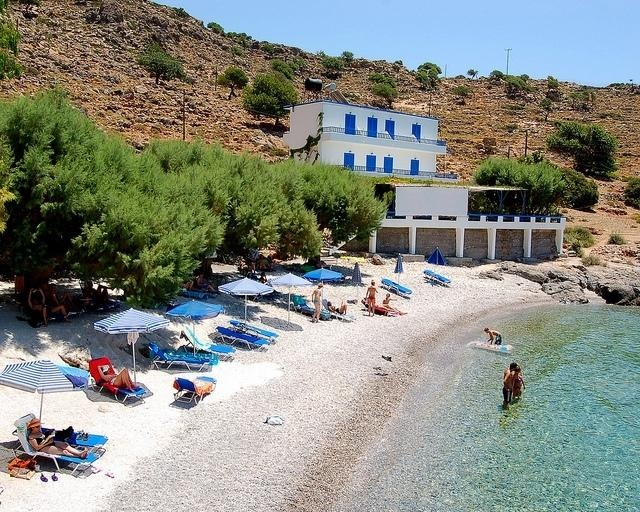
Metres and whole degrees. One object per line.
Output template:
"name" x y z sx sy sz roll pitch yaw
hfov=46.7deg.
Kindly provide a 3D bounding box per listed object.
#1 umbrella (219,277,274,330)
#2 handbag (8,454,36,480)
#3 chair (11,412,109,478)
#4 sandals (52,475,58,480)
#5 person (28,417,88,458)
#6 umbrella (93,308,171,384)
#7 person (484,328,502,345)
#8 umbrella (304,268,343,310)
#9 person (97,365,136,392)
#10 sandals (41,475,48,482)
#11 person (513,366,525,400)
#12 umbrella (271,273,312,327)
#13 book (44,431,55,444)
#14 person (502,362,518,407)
"umbrella" -3.817 2.473 38.651 2.762 2.923 2.930 3 9 -5
"handbag" -10.526 7.514 26.249 0.858 0.618 0.557 1 2 8
"chair" -9.367 6.751 27.026 2.524 1.387 2.099 11 17 0
"sandals" -9.353 7.860 26.273 0.236 0.180 0.188 3 3 38
"person" -9.551 6.616 27.081 2.297 1.285 1.025 14 19 -3
"umbrella" -8.141 4.089 32.311 3.033 3.718 2.961 -8 12 -12
"person" 9.484 4.381 40.325 0.736 0.893 1.555 2 2 17
"umbrella" 0.144 2.016 44.618 1.958 1.960 1.983 -1 -8 44
"person" -8.379 5.105 30.627 1.664 1.049 0.743 -4 -7 18
"sandals" -9.699 7.814 26.185 0.254 0.100 0.132 36 26 27
"person" 9.066 5.844 33.928 0.370 1.440 0.725 11 8 33
"umbrella" -1.578 2.327 41.260 2.323 2.980 2.552 5 6 22
"book" -9.664 6.533 26.627 0.160 0.235 0.552 1 9 -11
"person" 8.545 5.666 33.421 0.559 2.200 1.069 9 8 23
